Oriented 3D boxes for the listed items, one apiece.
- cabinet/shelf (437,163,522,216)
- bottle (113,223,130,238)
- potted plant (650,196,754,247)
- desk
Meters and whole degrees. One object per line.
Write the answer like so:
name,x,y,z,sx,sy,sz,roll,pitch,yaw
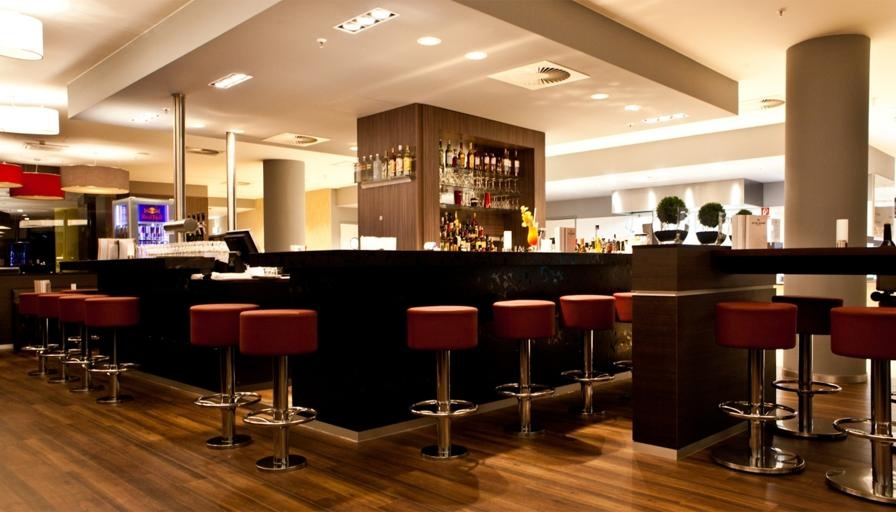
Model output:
cabinet/shelf,0.635,-1.174,11.602,0.280,0.640,2.072,-10,15,-40
bottle,-6.832,-0.513,13.985,0.260,0.263,1.189,-2,1,-26
potted plant,2.775,-0.379,7.402,0.739,0.298,0.698,-2,3,-33
desk,3.638,0.884,7.456,2.451,2.097,3.121,1,2,42
